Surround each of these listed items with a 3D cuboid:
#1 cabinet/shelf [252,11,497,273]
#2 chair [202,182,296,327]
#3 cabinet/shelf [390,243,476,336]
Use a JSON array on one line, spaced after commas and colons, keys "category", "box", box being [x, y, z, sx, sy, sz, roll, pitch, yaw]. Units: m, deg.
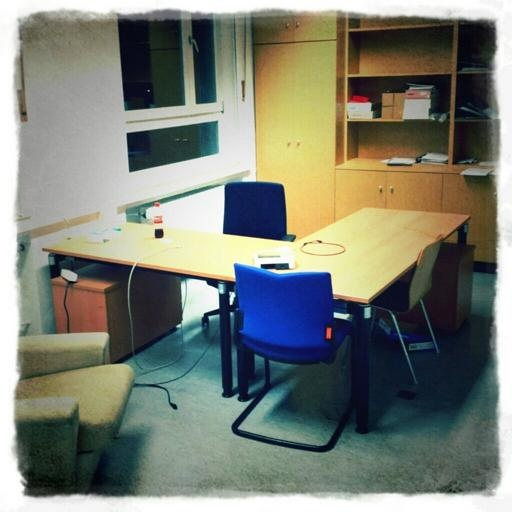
[{"category": "cabinet/shelf", "box": [1.130, -1.138, 4.539, 2.141, 2.296, 0.732, 4, 12, 19]}, {"category": "chair", "box": [-0.040, -0.042, 3.539, 0.626, 1.075, 0.623, 4, 1, 8]}, {"category": "cabinet/shelf", "box": [1.227, 0.152, 3.692, 0.681, 0.702, 0.494, 6, 18, 28]}]
